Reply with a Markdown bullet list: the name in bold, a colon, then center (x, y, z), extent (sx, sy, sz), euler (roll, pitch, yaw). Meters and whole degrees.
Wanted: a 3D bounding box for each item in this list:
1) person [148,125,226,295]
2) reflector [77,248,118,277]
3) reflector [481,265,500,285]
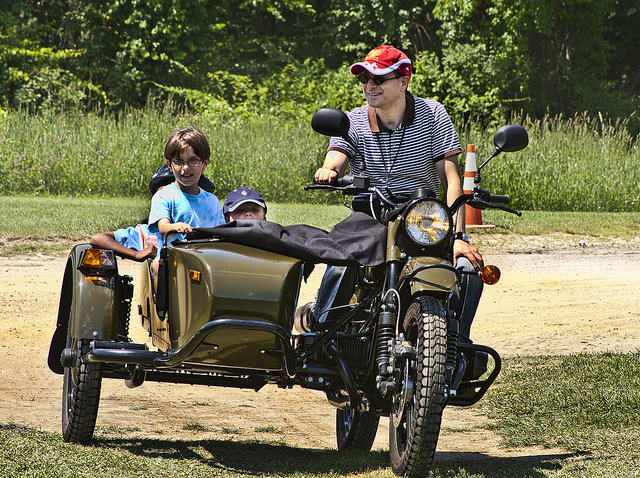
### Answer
- **person**: center (-1.777, -0.367, 16.819), extent (0.952, 2.197, 1.080), euler (3, 2, -6)
- **reflector**: center (-2.911, 0.238, 16.735), extent (0.430, 0.329, 0.360), euler (3, 3, -16)
- **reflector**: center (2.100, 0.449, 15.955), extent (0.201, 0.232, 0.133), euler (6, 8, 8)
